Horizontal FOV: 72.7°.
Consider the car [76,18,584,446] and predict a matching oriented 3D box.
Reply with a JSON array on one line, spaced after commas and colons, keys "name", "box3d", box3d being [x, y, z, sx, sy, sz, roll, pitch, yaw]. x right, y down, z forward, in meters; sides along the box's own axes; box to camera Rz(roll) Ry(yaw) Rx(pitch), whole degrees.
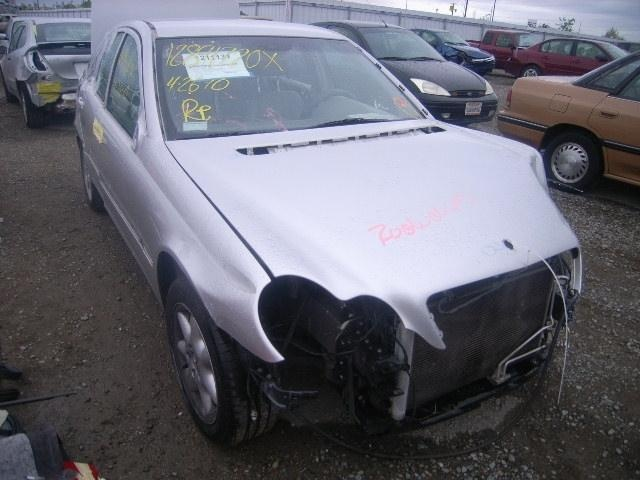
[{"name": "car", "box3d": [-0.372, -0.807, 4.067, 2.925, 2.127, 5.082, -13, 32, -29]}]

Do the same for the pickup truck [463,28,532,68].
[{"name": "pickup truck", "box3d": [6.207, -6.803, 15.591, 2.204, 1.075, 1.288, 15, 34, 26]}]
